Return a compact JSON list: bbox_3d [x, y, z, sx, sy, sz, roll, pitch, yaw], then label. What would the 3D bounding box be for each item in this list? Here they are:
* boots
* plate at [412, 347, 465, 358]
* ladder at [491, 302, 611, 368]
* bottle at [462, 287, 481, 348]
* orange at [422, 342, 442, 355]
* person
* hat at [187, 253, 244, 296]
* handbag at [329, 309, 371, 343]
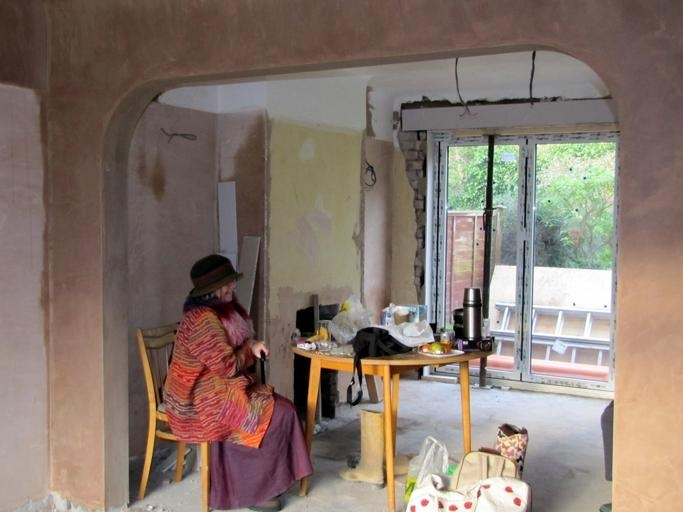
[{"bbox_3d":[0.220,1.373,4.720,0.598,0.685,0.337,0,1,39],"label":"boots"},{"bbox_3d":[0.667,0.639,4.283,0.306,0.034,0.159,3,7,-8],"label":"plate"},{"bbox_3d":[2.349,0.751,7.121,1.537,0.422,0.855,2,-1,33],"label":"ladder"},{"bbox_3d":[0.916,0.403,4.455,0.151,0.374,0.174,3,8,-1],"label":"bottle"},{"bbox_3d":[0.596,0.600,4.282,0.087,0.037,0.087,0,-2,-37],"label":"orange"},{"bbox_3d":[-0.683,0.832,4.218,0.960,1.632,0.440,3,8,-3],"label":"person"},{"bbox_3d":[-0.846,0.151,4.282,0.284,0.156,0.285,-29,9,0],"label":"hat"},{"bbox_3d":[0.053,0.484,4.741,0.193,0.199,0.291,-43,-8,36],"label":"handbag"}]
